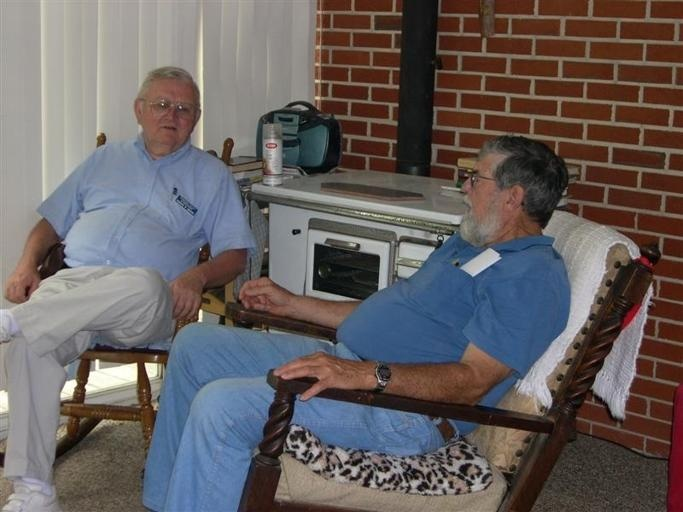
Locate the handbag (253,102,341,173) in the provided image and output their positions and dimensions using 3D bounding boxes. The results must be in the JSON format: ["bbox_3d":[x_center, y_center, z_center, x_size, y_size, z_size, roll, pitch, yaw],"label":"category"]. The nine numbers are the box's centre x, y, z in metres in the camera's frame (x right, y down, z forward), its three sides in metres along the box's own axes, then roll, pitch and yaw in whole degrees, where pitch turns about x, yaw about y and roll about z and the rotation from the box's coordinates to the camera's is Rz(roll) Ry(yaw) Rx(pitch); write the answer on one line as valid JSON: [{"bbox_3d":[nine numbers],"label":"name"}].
[{"bbox_3d":[-0.239,-0.621,3.127,0.444,0.360,0.241,12,16,30],"label":"handbag"}]

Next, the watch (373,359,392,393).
[{"bbox_3d":[0.110,0.315,1.589,0.039,0.057,0.066,12,41,5],"label":"watch"}]
